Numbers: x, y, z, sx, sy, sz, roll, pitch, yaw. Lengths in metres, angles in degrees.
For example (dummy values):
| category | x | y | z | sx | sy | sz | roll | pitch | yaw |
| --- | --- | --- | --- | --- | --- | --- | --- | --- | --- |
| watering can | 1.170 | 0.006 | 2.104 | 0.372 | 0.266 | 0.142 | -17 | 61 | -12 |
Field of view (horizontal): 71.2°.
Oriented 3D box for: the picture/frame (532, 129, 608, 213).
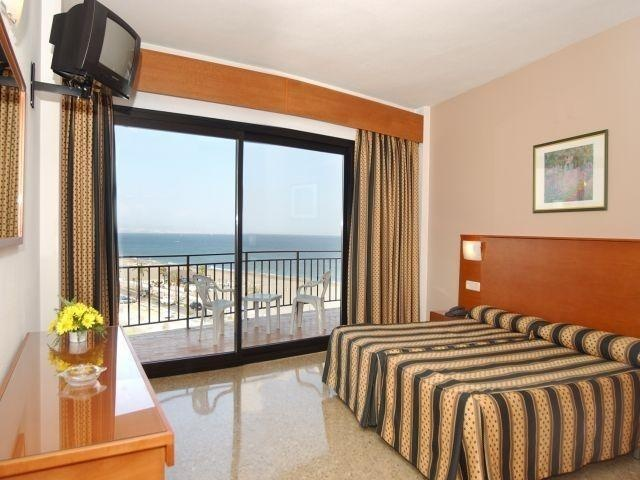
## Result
| category | x | y | z | sx | sy | sz | roll | pitch | yaw |
| --- | --- | --- | --- | --- | --- | --- | --- | --- | --- |
| picture/frame | 2.215 | -0.606 | 3.911 | 0.045 | 0.841 | 0.783 | 5 | -5 | -39 |

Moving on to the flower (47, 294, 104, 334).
| category | x | y | z | sx | sy | sz | roll | pitch | yaw |
| --- | --- | --- | --- | --- | --- | --- | --- | --- | --- |
| flower | -1.519 | 0.479 | 2.779 | 0.287 | 0.198 | 0.292 | 4 | 3 | 31 |

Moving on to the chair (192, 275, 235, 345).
| category | x | y | z | sx | sy | sz | roll | pitch | yaw |
| --- | --- | --- | --- | --- | --- | --- | --- | --- | --- |
| chair | -1.169 | 0.754 | 5.082 | 0.427 | 0.731 | 0.439 | 3 | 4 | 38 |

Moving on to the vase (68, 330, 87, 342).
| category | x | y | z | sx | sy | sz | roll | pitch | yaw |
| --- | --- | --- | --- | --- | --- | --- | --- | --- | --- |
| vase | -1.475 | 0.591 | 2.727 | 0.085 | 0.066 | 0.077 | 1 | 1 | -4 |

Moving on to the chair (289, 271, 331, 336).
| category | x | y | z | sx | sy | sz | roll | pitch | yaw |
| --- | --- | --- | --- | --- | --- | --- | --- | --- | --- |
| chair | -0.116 | 0.772 | 5.469 | 0.446 | 0.690 | 0.446 | 0 | -2 | 17 |

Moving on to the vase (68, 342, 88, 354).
| category | x | y | z | sx | sy | sz | roll | pitch | yaw |
| --- | --- | --- | --- | --- | --- | --- | --- | --- | --- |
| vase | -1.432 | 0.644 | 2.656 | 0.064 | 0.043 | 0.087 | 8 | 9 | 41 |

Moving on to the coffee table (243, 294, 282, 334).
| category | x | y | z | sx | sy | sz | roll | pitch | yaw |
| --- | --- | --- | --- | --- | --- | --- | --- | --- | --- |
| coffee table | -0.663 | 0.855 | 5.469 | 0.610 | 0.551 | 0.611 | -3 | -9 | 4 |
